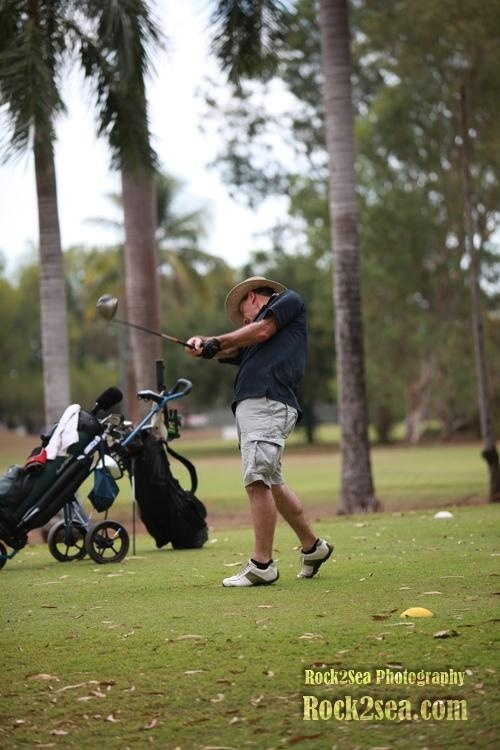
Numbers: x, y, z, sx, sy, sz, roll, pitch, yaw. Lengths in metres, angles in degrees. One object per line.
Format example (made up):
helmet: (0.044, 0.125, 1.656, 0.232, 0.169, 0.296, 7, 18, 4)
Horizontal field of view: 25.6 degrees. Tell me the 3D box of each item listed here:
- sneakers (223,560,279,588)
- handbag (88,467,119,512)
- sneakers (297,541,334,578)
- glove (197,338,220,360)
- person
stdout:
sneakers: (0.029, 1.109, 6.083, 0.361, 0.154, 0.118, -2, -3, -6)
handbag: (-1.015, 0.760, 7.534, 0.231, 0.385, 0.219, -6, -9, 9)
sneakers: (0.366, 1.038, 6.171, 0.154, 0.305, 0.102, 14, 40, -11)
glove: (-0.224, -0.147, 6.037, 0.093, 0.105, 0.120, -37, -32, 13)
person: (0.067, 0.299, 6.291, 0.667, 1.744, 0.734, -6, 0, 3)
